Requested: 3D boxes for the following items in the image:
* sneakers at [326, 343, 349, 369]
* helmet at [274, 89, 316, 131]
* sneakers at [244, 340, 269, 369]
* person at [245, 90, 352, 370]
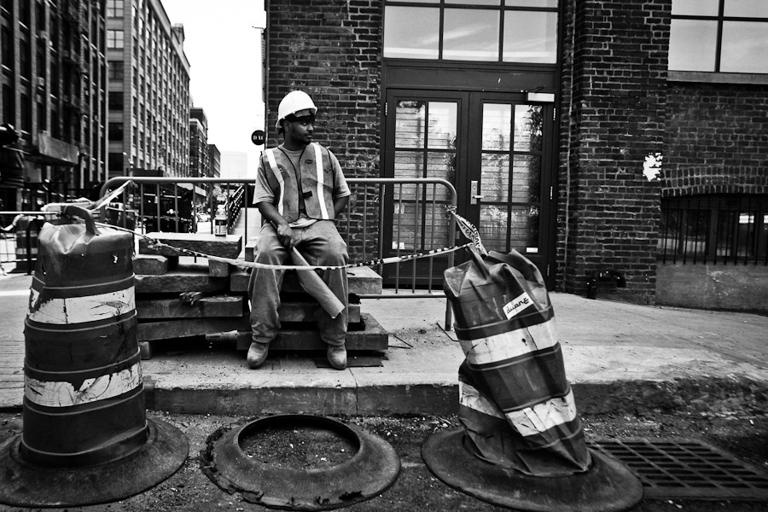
[{"bbox_3d":[-0.522,1.094,7.777,0.224,0.248,0.315,-1,5,-3],"label":"sneakers"},{"bbox_3d":[-1.027,-1.669,7.908,0.385,0.289,0.498,-4,-5,-36],"label":"helmet"},{"bbox_3d":[-1.382,1.077,7.602,0.130,0.166,0.386,2,15,-7],"label":"sneakers"},{"bbox_3d":[-0.968,-0.327,7.809,1.135,3.069,0.805,-1,5,-3],"label":"person"}]
